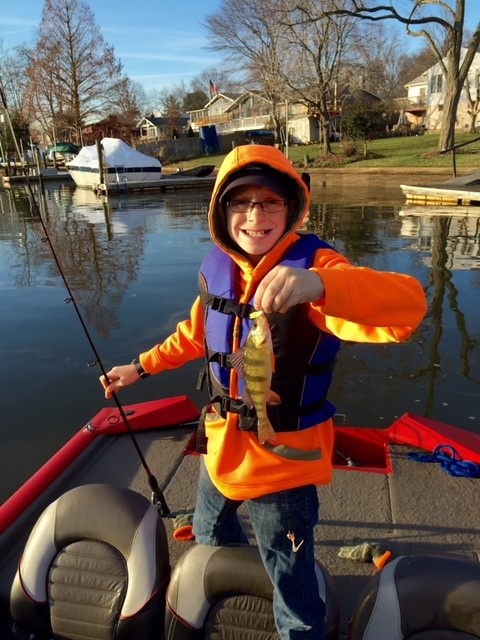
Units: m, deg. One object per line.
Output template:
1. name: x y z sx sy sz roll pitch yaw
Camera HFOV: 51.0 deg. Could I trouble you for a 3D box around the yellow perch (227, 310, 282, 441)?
1. yellow perch: 0.051 0.189 1.644 0.123 0.496 0.243 -6 22 -8
